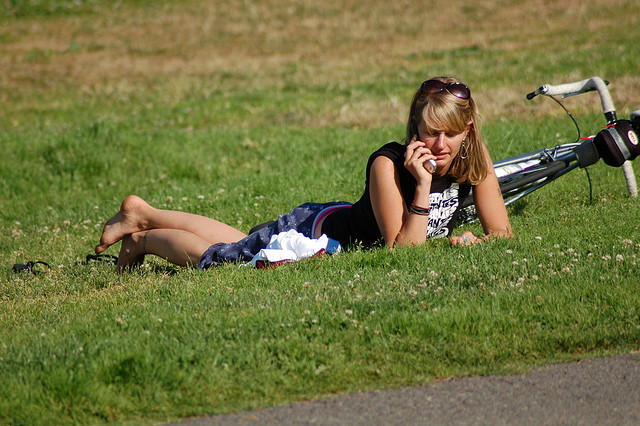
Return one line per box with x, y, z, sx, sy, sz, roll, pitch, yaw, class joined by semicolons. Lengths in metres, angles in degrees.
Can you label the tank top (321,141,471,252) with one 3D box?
1.044;-0.219;13.678;2.076;1.510;0.477;-9;13;8;tank top
